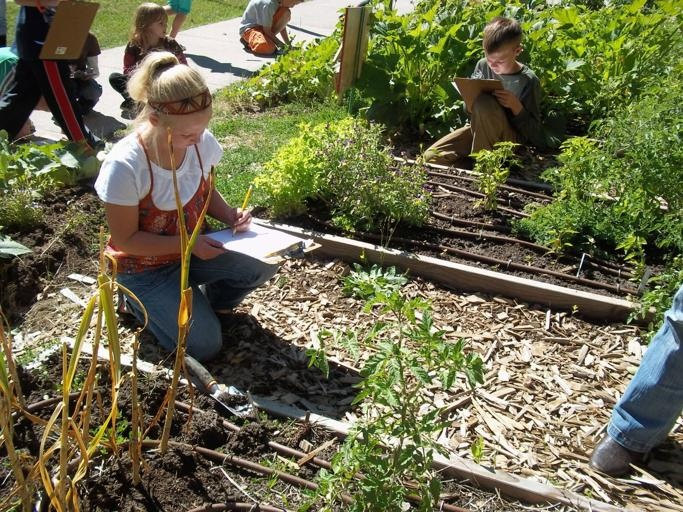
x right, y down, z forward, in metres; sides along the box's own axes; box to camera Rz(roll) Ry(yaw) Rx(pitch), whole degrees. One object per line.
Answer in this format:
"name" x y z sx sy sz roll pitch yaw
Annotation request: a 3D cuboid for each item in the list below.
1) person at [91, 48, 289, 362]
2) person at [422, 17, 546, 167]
"person" -0.960 -0.265 3.607 1.119 1.718 1.003 16 28 12
"person" 1.460 -1.537 5.644 0.689 1.394 0.818 25 28 33
